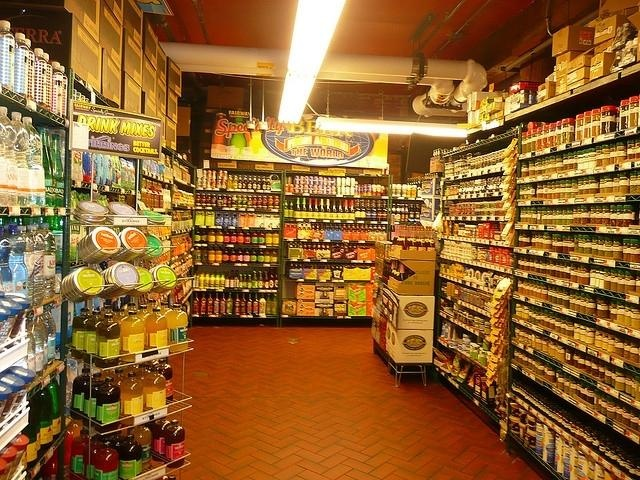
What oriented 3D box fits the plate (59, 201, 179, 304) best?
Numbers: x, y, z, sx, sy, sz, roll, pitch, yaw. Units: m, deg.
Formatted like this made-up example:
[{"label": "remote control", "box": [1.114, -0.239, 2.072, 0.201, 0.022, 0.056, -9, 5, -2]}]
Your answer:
[{"label": "plate", "box": [-1.533, 0.063, 3.609, 0.787, 0.737, 0.752, -1, 3, -18]}]
